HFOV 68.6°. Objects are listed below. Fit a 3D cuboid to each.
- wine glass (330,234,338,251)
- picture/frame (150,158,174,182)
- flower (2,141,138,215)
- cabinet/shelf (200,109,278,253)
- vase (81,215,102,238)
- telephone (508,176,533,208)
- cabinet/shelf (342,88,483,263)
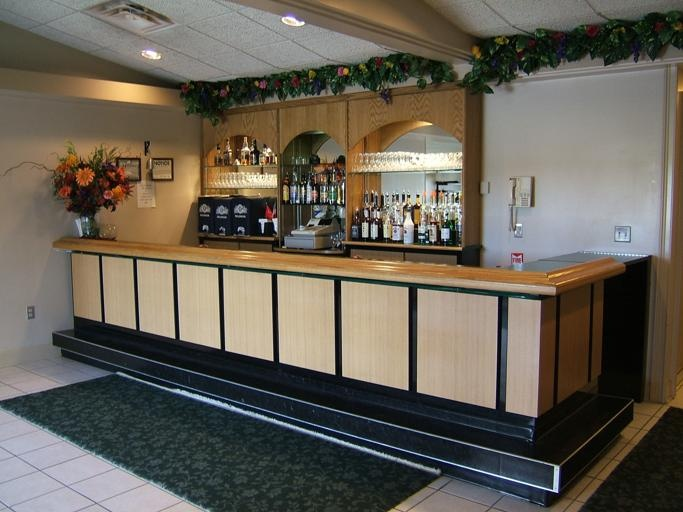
[{"bbox_3d":[-0.073,-0.198,6.517,0.134,0.171,0.111,-6,10,-31],"label":"wine glass"},{"bbox_3d":[-2.559,-1.242,7.130,0.337,0.366,0.042,-9,13,-44],"label":"picture/frame"},{"bbox_3d":[-3.189,-0.914,6.113,1.019,0.880,0.572,0,8,7],"label":"flower"},{"bbox_3d":[-1.454,-1.200,7.347,1.143,1.946,0.526,2,-2,38],"label":"cabinet/shelf"},{"bbox_3d":[-3.096,-0.367,6.220,0.214,0.273,0.100,-5,9,-27],"label":"vase"},{"bbox_3d":[1.924,-0.695,5.387,0.321,0.389,0.149,5,7,35],"label":"telephone"},{"bbox_3d":[0.862,-0.955,5.804,1.898,2.106,0.526,8,10,42],"label":"cabinet/shelf"}]
